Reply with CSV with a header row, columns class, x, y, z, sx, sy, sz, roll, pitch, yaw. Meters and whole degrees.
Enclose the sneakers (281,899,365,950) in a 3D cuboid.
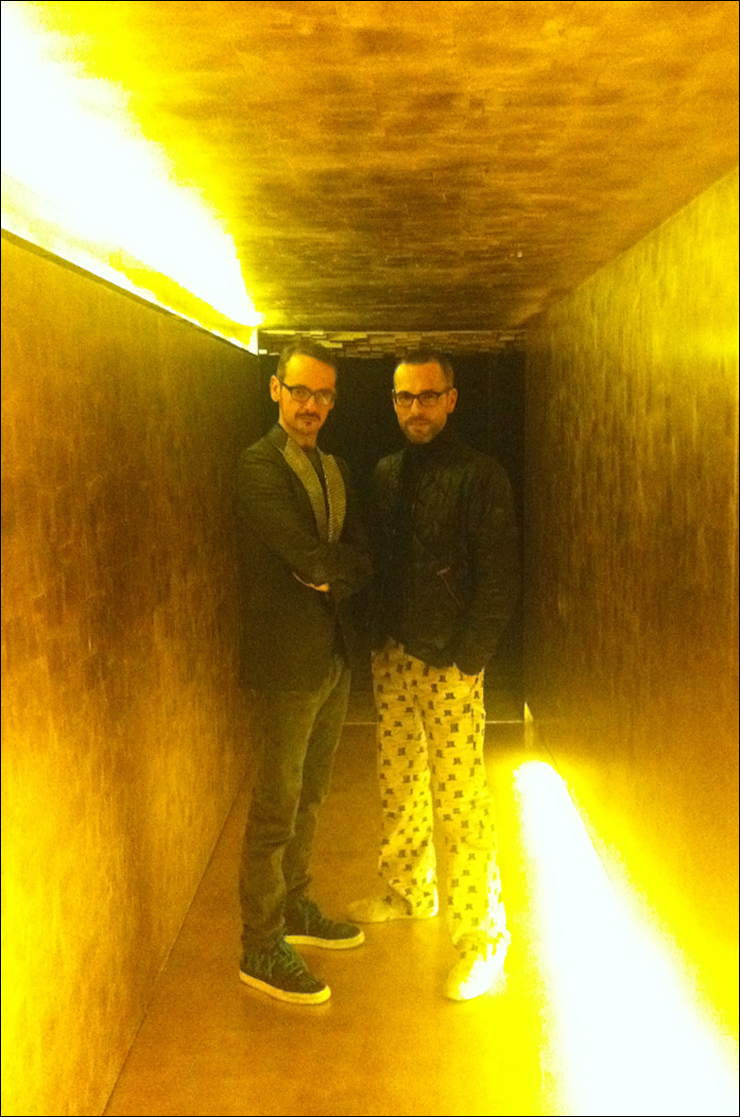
class,x,y,z,sx,sy,sz,roll,pitch,yaw
sneakers,-0.083,0.674,1.559,0.181,0.067,0.100,0,-75,7
